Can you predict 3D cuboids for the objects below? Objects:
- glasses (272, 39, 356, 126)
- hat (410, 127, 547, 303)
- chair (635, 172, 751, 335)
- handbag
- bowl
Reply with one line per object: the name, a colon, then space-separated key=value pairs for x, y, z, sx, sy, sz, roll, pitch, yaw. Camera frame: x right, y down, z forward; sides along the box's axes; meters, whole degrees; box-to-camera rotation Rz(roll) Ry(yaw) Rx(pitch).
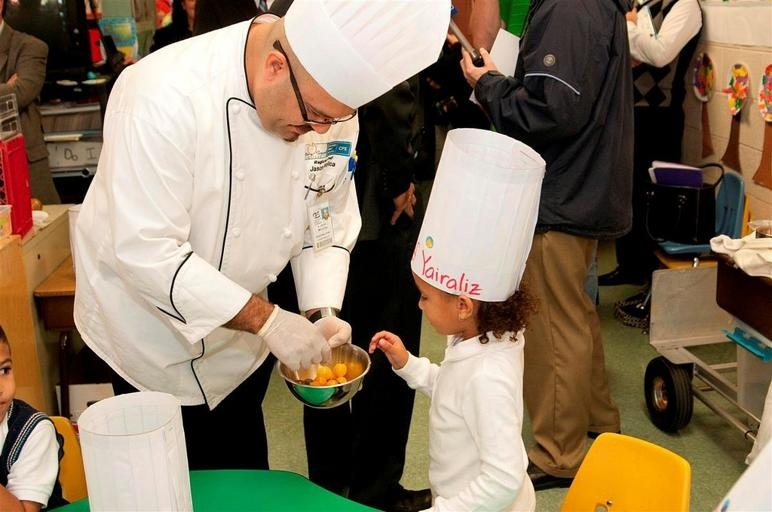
glasses: x=-0.219 y=-0.527 z=1.936 sx=0.063 sy=0.260 sz=0.228 roll=-12 pitch=4 yaw=34
hat: x=0.290 y=-0.209 z=2.257 sx=0.464 sy=0.560 sz=0.500 roll=25 pitch=18 yaw=10
chair: x=1.967 y=-0.227 z=4.035 sx=0.495 sy=0.710 sz=0.496 roll=-1 pitch=9 yaw=-6
handbag: x=1.927 y=-0.398 z=4.319 sx=0.462 sy=0.581 sz=0.527 roll=-1 pitch=8 yaw=2
bowl: x=-0.175 y=0.450 z=2.258 sx=0.301 sy=0.335 sz=0.153 roll=-6 pitch=57 yaw=-11
